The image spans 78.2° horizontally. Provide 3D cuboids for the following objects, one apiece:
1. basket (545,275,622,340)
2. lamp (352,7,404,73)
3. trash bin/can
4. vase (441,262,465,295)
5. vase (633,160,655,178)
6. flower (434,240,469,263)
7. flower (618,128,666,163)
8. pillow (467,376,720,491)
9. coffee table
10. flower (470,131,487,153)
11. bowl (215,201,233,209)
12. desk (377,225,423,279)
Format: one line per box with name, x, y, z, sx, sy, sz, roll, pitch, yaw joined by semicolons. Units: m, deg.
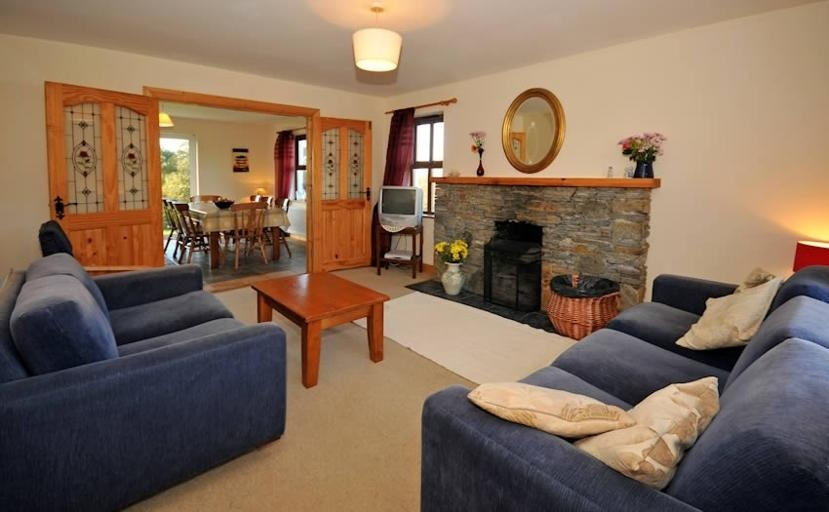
basket;1.703;0.483;5.187;0.672;0.537;0.690;3;0;-5
lamp;-0.380;-2.046;4.738;0.390;0.594;0.651;-3;13;-11
trash bin/can;1.631;0.482;5.137;0.673;0.533;0.684;3;0;-3
vase;0.468;0.271;6.482;0.377;0.433;0.368;1;6;2
vase;2.363;-0.889;5.267;0.201;0.200;0.196;1;5;18
flower;0.478;-0.063;6.486;0.346;0.219;0.341;2;1;22
flower;2.366;-1.134;5.265;0.375;0.217;0.353;-6;16;6
pillow;1.125;0.912;2.773;0.766;0.216;0.749;12;-5;-35
coffee table;-0.886;0.439;4.728;0.969;0.625;1.288;-3;10;-37
flower;0.843;-1.507;6.673;0.218;0.309;0.272;-5;17;-31
bowl;-2.957;-0.818;7.969;0.237;0.117;0.264;-3;13;-13
desk;-0.237;-0.126;7.602;0.809;0.718;0.854;4;14;19
